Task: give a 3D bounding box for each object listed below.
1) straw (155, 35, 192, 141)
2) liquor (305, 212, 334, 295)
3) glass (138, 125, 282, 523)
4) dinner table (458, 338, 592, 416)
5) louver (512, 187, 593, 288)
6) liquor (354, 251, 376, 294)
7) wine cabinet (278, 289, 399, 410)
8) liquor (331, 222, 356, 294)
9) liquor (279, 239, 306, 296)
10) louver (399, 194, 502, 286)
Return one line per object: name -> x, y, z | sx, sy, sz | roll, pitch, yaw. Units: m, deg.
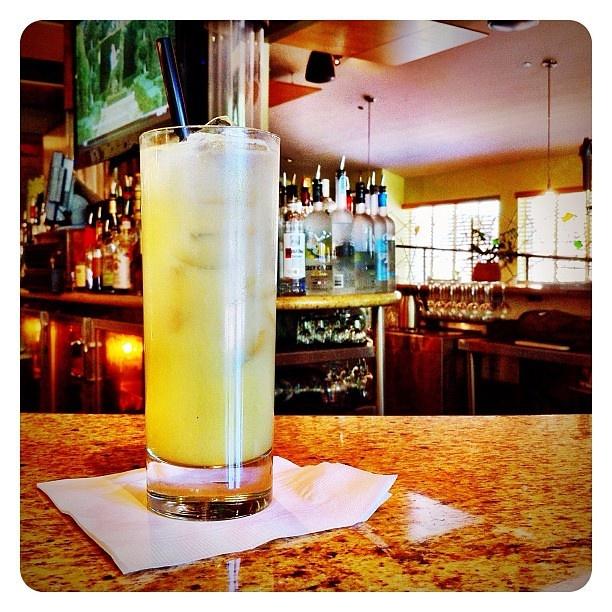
straw -> -0.158, -0.261, 0.689 | 0.017, 0.110, 0.016 | -20, 27, -27
liquor -> 0.053, -0.232, 2.406 | 0.119, 0.356, 0.121 | 1, 3, -7
glass -> -0.102, 0.013, 0.623 | 0.151, 0.401, 0.110 | 0, 3, -14
dinner table -> 1.518, 0.520, 4.243 | 0.787, 0.498, 0.466 | 7, 6, 14
louver -> 2.463, -0.786, 5.923 | 0.558, 1.104, 2.735 | 2, 2, 19
liquor -> 0.254, -0.163, 2.601 | 0.109, 0.188, 0.112 | -3, -4, 19
wine cabinet -> 0.140, 0.137, 2.470 | 0.509, 0.601, 0.580 | -1, -1, -9
liquor -> 0.152, -0.265, 2.444 | 0.094, 0.417, 0.096 | -1, 8, 3
liquor -> -0.052, -0.155, 2.193 | 0.100, 0.228, 0.194 | 1, 2, -2
louver -> 1.973, -0.938, 7.864 | 1.583, 1.650, 0.080 | -4, -21, 35
